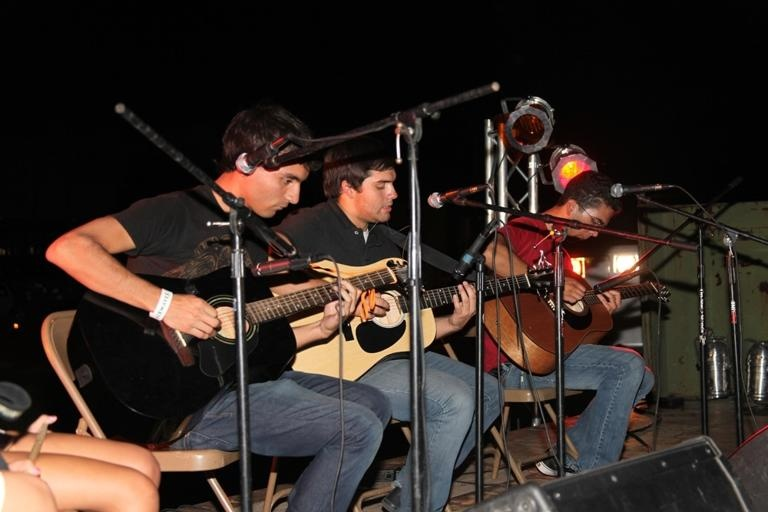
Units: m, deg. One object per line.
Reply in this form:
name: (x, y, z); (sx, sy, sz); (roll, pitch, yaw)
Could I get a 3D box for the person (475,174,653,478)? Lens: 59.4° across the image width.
person: (1.442, 0.403, 5.186); (1.201, 2.380, 0.335); (29, -35, -19)

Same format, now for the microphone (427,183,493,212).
microphone: (0.383, -0.337, 3.886); (0.480, 0.110, 0.140); (-18, -7, 42)

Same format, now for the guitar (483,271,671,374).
guitar: (1.307, 0.429, 4.780); (1.440, 0.682, 0.217); (4, -38, -33)

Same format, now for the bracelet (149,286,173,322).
bracelet: (-1.177, 0.274, 3.619); (0.035, 0.144, 0.145); (19, -61, -15)

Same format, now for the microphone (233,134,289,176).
microphone: (-0.593, -0.487, 3.437); (0.293, 0.177, 0.081); (-30, -19, 16)

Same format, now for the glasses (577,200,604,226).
glasses: (1.522, -0.298, 4.958); (0.166, 0.160, 0.050); (21, -56, -38)

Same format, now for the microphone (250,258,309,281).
microphone: (-0.595, 0.073, 3.681); (0.226, 0.065, 0.065); (-14, -54, 13)
